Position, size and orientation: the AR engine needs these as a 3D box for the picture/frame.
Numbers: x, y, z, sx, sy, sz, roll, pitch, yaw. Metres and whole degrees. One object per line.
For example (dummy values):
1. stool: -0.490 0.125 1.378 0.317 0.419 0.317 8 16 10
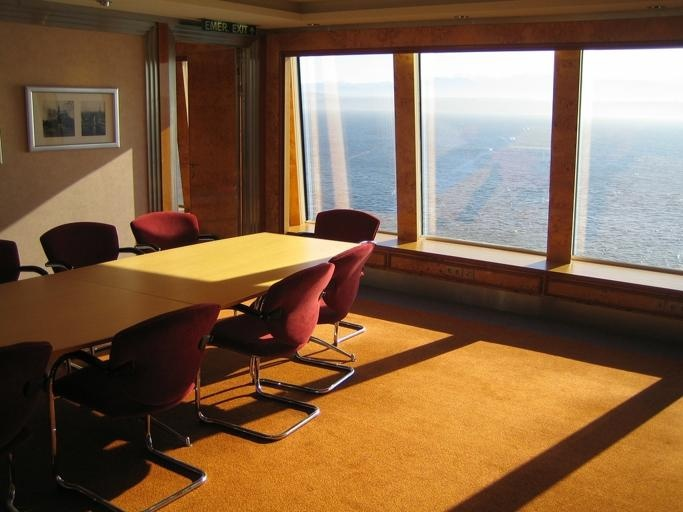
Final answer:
1. picture/frame: -2.913 -1.524 5.629 0.044 0.678 1.005 24 26 25
